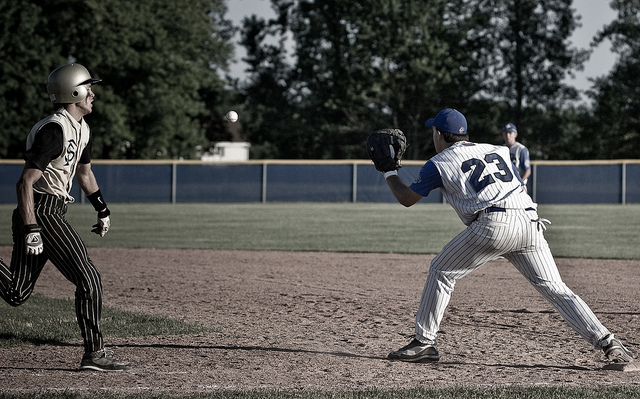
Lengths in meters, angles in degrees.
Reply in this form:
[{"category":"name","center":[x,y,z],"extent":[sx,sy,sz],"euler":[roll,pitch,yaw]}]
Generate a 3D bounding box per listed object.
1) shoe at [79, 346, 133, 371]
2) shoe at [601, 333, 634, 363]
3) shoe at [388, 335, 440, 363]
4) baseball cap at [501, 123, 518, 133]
[{"category":"shoe","center":[-4.767,3.590,25.771],"extent":[1.109,0.409,0.438],"euler":[5,16,11]},{"category":"shoe","center":[6.530,3.359,25.597],"extent":[0.370,0.478,1.011],"euler":[-34,-46,19]},{"category":"shoe","center":[2.105,3.435,26.175],"extent":[1.118,0.548,0.459],"euler":[1,-2,-3]},{"category":"baseball cap","center":[5.293,-2.007,32.315],"extent":[0.333,0.250,0.453],"euler":[-1,-13,26]}]
